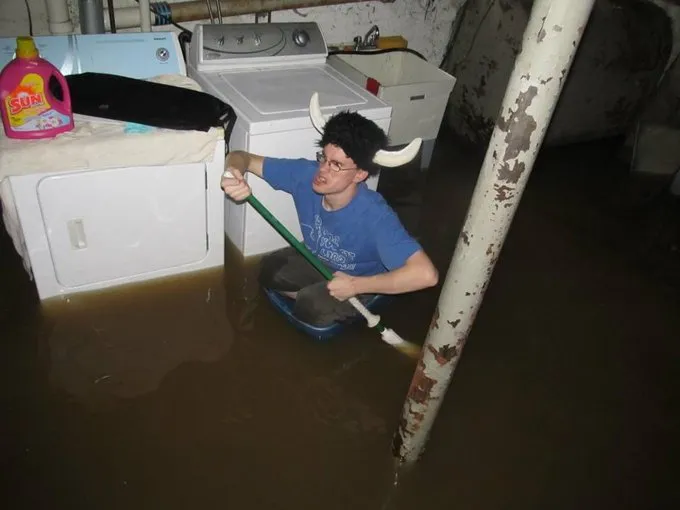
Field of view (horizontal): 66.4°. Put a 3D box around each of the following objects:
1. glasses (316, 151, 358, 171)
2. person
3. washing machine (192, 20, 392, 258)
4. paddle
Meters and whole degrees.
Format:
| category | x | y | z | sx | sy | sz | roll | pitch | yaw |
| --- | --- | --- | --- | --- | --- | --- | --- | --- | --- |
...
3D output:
| category | x | y | z | sx | sy | sz | roll | pitch | yaw |
| --- | --- | --- | --- | --- | --- | --- | --- | --- | --- |
| glasses | -0.022 | -0.405 | 2.255 | 0.191 | 0.044 | 0.067 | 19 | 39 | 15 |
| person | -0.076 | -0.169 | 2.524 | 1.064 | 1.080 | 0.696 | 18 | 36 | 15 |
| washing machine | -0.297 | -0.580 | 2.726 | 0.857 | 1.223 | 0.875 | -18 | 51 | -25 |
| paddle | -0.030 | 0.128 | 2.568 | 0.143 | 1.463 | 0.149 | -45 | 14 | -4 |
